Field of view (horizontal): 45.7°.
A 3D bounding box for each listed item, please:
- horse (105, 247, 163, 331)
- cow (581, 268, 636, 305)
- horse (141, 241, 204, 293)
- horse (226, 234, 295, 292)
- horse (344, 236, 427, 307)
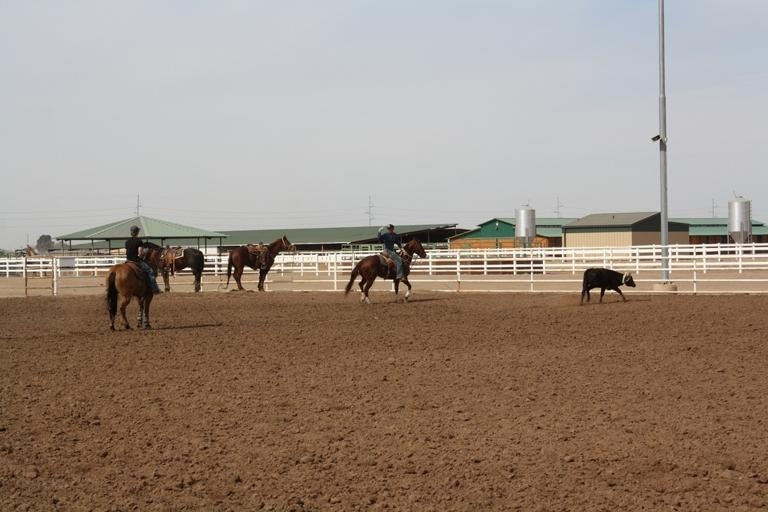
[{"bbox_3d":[-5.249,0.692,19.186,0.668,1.650,2.362,-1,1,13],"label":"horse"},{"bbox_3d":[5.655,0.754,23.613,1.299,0.892,2.276,-1,1,15],"label":"cow"},{"bbox_3d":[-6.569,0.354,28.559,2.393,1.528,0.572,-1,1,20],"label":"horse"},{"bbox_3d":[-4.140,0.287,30.010,2.671,1.743,0.734,-3,2,-39],"label":"horse"},{"bbox_3d":[-0.035,0.462,24.712,2.858,1.681,0.668,-6,4,-37],"label":"horse"}]
